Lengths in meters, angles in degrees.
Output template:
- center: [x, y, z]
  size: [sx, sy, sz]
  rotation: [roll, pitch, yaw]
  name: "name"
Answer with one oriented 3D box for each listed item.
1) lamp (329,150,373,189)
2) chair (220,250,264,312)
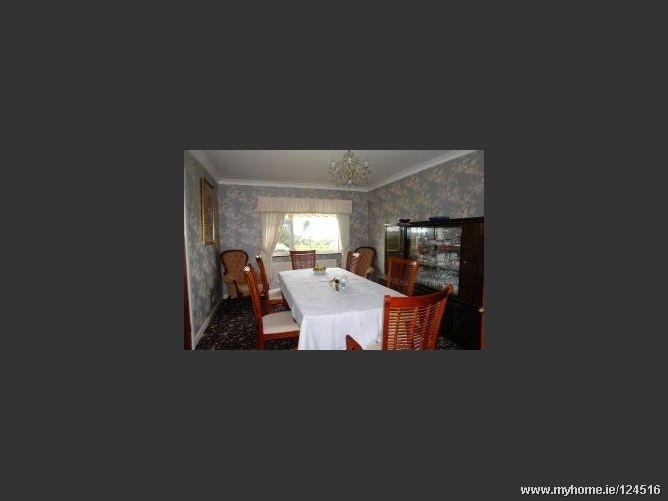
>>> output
- center: [0.163, -0.743, 5.052]
  size: [0.350, 0.561, 0.384]
  rotation: [0, 20, 1]
  name: "lamp"
- center: [-1.090, 0.284, 6.348]
  size: [0.416, 0.662, 0.345]
  rotation: [-9, 5, -41]
  name: "chair"
